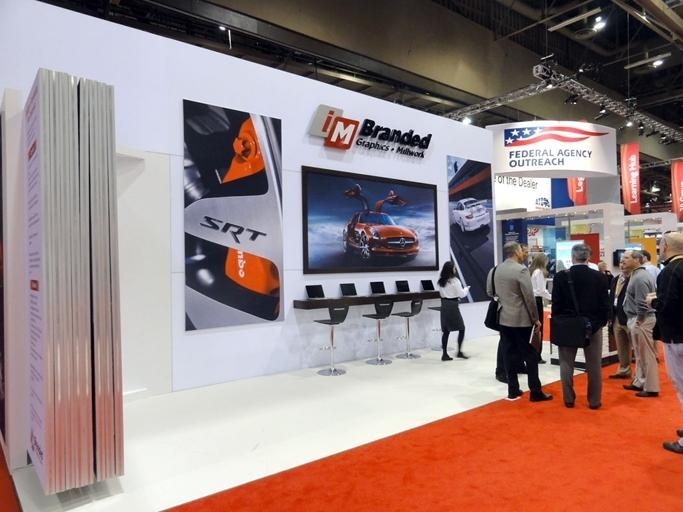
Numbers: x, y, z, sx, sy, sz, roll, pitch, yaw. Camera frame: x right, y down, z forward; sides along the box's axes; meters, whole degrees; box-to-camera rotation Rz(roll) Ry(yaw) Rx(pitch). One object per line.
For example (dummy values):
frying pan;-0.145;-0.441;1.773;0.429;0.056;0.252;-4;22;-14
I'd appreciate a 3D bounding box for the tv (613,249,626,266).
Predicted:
tv;3.976;0.019;7.082;0.069;0.213;0.217;7;19;39

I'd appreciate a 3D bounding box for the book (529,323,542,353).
book;1.929;0.819;4.954;0.039;0.367;0.268;-5;-8;39

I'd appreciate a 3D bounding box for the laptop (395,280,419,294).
laptop;0.895;0.447;7.194;0.244;0.176;0.146;2;-8;-33

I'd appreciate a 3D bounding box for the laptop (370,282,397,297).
laptop;0.509;0.454;6.938;0.218;0.153;0.158;6;-13;-42

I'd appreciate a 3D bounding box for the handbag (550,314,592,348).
handbag;2.193;0.707;4.697;0.309;0.291;0.110;2;4;45
